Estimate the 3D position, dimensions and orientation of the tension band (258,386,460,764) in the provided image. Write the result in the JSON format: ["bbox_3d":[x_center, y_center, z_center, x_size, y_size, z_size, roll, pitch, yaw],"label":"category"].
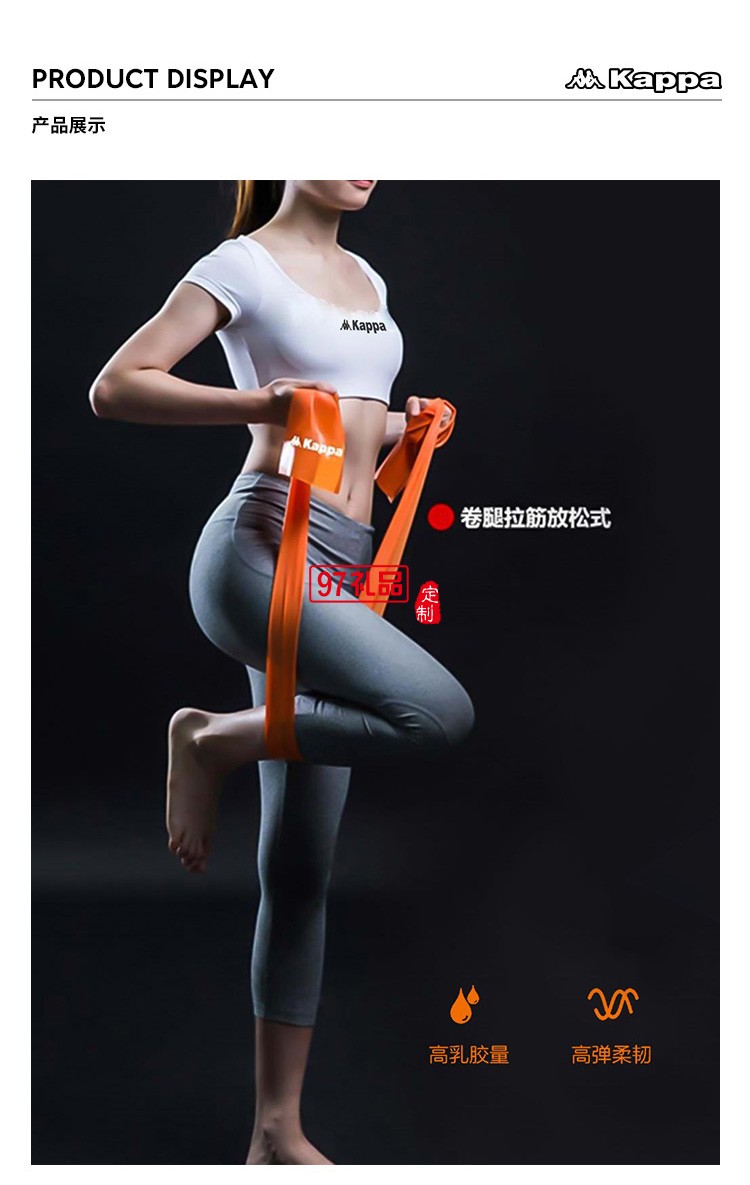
[{"bbox_3d":[-0.055,-0.055,2.290,0.171,0.700,0.453,17,25,35],"label":"tension band"}]
